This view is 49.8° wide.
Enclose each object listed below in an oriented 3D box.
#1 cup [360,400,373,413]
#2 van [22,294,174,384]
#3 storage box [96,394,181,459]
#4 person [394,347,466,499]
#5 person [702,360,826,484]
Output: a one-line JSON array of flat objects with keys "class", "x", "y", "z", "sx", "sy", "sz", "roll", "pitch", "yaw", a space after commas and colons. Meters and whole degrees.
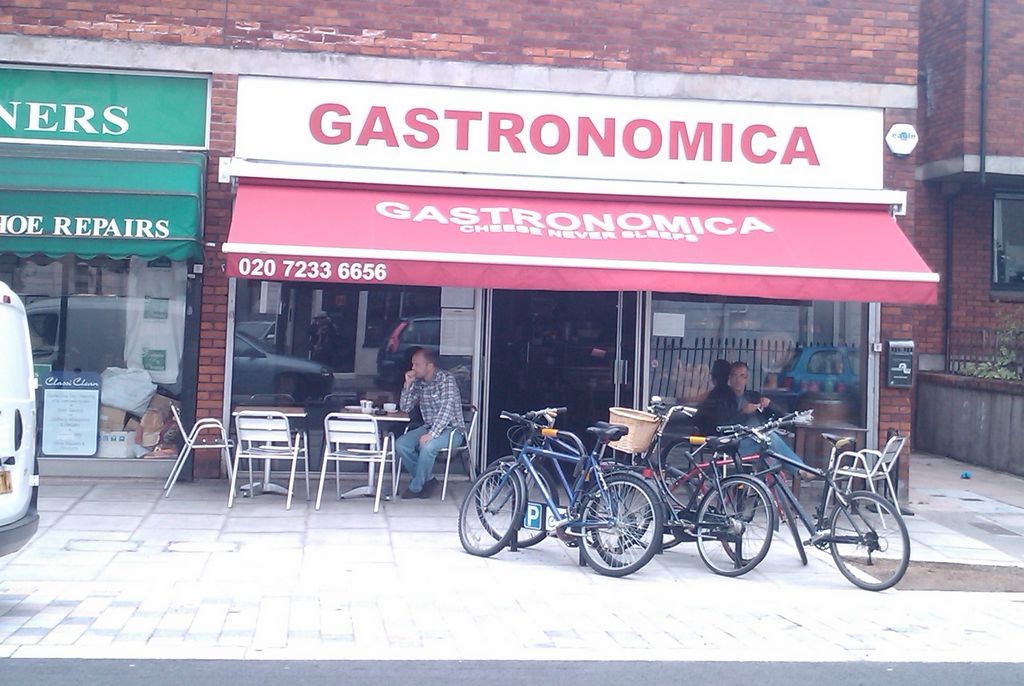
[{"class": "cup", "x": -1.999, "y": 0.850, "z": 14.994, "sx": 0.188, "sy": 0.183, "sz": 0.129, "roll": 1, "pitch": -3, "yaw": -6}, {"class": "van", "x": -5.745, "y": -0.139, "z": 15.342, "sx": 1.854, "sy": 0.913, "sz": 1.005, "roll": 1, "pitch": 0, "yaw": -5}, {"class": "storage box", "x": -5.350, "y": 1.275, "z": 15.697, "sx": 1.509, "sy": 0.935, "sz": 0.773, "roll": 1, "pitch": -6, "yaw": -7}, {"class": "person", "x": -1.230, "y": 1.089, "z": 14.848, "sx": 0.818, "sy": 1.968, "sz": 1.014, "roll": -7, "pitch": 15, "yaw": -35}, {"class": "person", "x": 3.437, "y": 0.811, "z": 15.653, "sx": 1.517, "sy": 2.175, "sz": 1.139, "roll": -8, "pitch": 3, "yaw": 9}]
